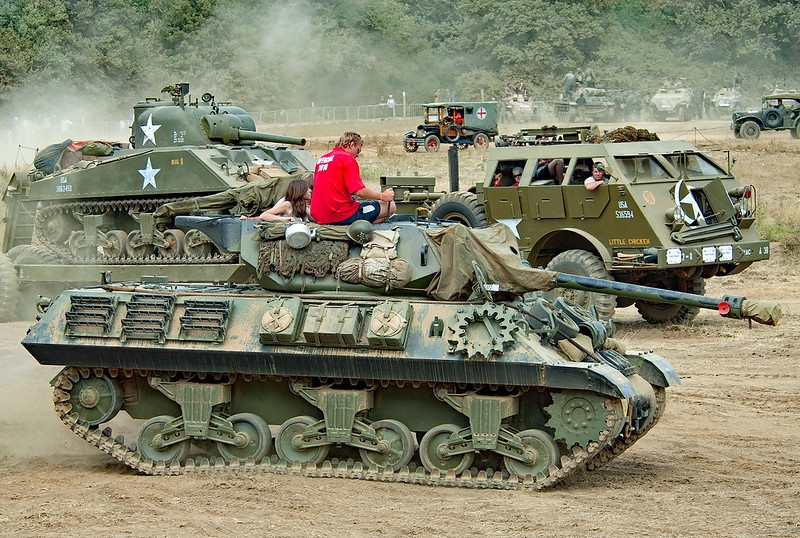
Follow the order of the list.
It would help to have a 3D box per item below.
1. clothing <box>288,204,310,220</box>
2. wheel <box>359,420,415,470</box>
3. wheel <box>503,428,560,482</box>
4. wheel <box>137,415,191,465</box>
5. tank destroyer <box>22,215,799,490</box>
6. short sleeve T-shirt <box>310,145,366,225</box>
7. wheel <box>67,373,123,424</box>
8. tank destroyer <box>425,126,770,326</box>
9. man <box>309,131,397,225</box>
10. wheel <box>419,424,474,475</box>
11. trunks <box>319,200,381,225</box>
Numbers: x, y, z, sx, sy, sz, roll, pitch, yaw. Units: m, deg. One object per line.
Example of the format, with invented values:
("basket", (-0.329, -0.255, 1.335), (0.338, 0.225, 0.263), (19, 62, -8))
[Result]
("clothing", (-1.532, -0.869, 16.151), (0.203, 0.120, 0.263), (-7, 14, -44))
("wheel", (-0.210, 2.433, 14.735), (0.541, 0.671, 0.205), (0, -3, 7))
("wheel", (1.769, 2.473, 14.476), (0.693, 0.820, 0.407), (19, 20, 9))
("wheel", (-3.513, 2.556, 15.459), (0.727, 0.850, 0.280), (-1, -32, -24))
("tank destroyer", (-0.273, 1.181, 16.166), (8.628, 3.870, 4.798), (1, 2, 12))
("short sleeve T-shirt", (-0.956, -1.245, 15.759), (0.787, 1.081, 0.502), (-1, 12, -2))
("wheel", (-4.502, 1.864, 15.597), (0.580, 0.765, 0.261), (1, -4, 5))
("tank destroyer", (4.314, -1.183, 22.055), (6.073, 3.782, 3.685), (4, 5, 36))
("man", (-0.690, -1.347, 16.184), (1.088, 1.550, 1.346), (3, 3, 24))
("wheel", (0.653, 2.471, 14.581), (0.560, 0.686, 0.208), (2, -2, 21))
("trunks", (-0.584, -0.835, 15.814), (0.495, 0.223, 0.406), (-15, -5, 0))
